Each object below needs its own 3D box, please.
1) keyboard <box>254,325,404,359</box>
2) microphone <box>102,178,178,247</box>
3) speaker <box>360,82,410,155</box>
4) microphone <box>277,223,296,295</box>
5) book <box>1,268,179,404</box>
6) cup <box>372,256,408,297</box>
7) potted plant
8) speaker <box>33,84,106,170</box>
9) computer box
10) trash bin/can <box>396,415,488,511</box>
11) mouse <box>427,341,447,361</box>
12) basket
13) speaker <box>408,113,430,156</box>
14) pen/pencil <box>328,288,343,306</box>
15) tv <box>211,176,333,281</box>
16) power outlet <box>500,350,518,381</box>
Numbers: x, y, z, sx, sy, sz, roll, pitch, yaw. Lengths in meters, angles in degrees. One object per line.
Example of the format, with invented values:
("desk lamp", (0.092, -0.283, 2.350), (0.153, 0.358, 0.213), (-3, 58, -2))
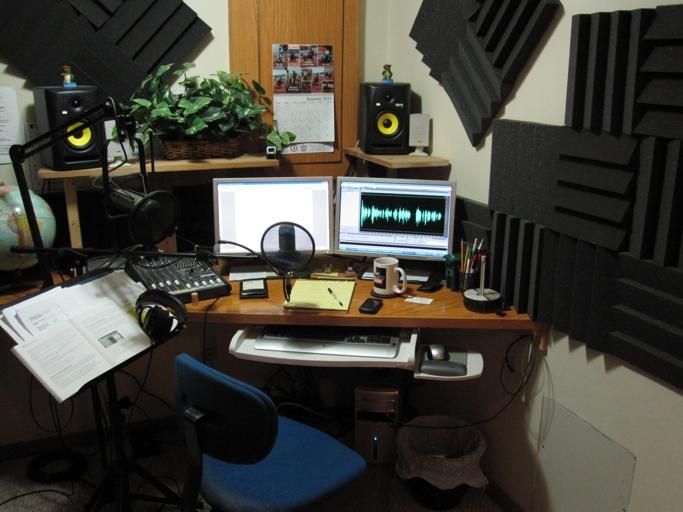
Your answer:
("keyboard", (-0.059, 0.350, 2.335), (0.600, 0.057, 0.186), (0, 21, 5))
("microphone", (-0.780, -0.171, 2.137), (0.217, 0.217, 0.413), (-14, 24, -30))
("speaker", (0.222, -0.706, 2.857), (0.283, 0.436, 0.339), (-1, 10, -5))
("microphone", (-0.222, 0.027, 2.321), (0.070, 0.369, 0.152), (-4, 20, -5))
("book", (-0.986, 0.281, 2.172), (0.525, 0.247, 0.421), (-21, 28, -39))
("cup", (0.215, 0.086, 2.502), (0.112, 0.153, 0.193), (-6, 14, -27))
("potted plant", (-0.655, -0.766, 2.795), (0.583, 0.251, 0.577), (-10, 54, -24))
("speaker", (-1.248, -0.585, 2.537), (0.322, 0.349, 0.244), (-8, 21, -15))
("computer box", (0.174, 0.831, 2.762), (0.213, 0.405, 0.381), (1, 8, 5))
("trash bin/can", (0.463, 0.935, 2.610), (0.389, 0.278, 0.391), (-21, 35, -33))
("mouse", (0.404, 0.398, 2.361), (0.055, 0.052, 0.056), (-2, 20, 4))
("basket", (-0.617, -0.665, 2.779), (0.450, 0.329, 0.473), (-5, 29, -10))
("speaker", (0.392, -0.615, 2.833), (0.095, 0.198, 0.055), (0, 20, 5))
("pen/pencil", (-0.027, 0.165, 2.449), (0.025, 0.024, 0.158), (-21, 29, -4))
("tv", (-0.346, -0.195, 2.936), (0.788, 0.651, 0.427), (0, 5, -5))
("power outlet", (0.755, 0.492, 2.505), (0.030, 0.114, 0.079), (-3, 16, -17))
